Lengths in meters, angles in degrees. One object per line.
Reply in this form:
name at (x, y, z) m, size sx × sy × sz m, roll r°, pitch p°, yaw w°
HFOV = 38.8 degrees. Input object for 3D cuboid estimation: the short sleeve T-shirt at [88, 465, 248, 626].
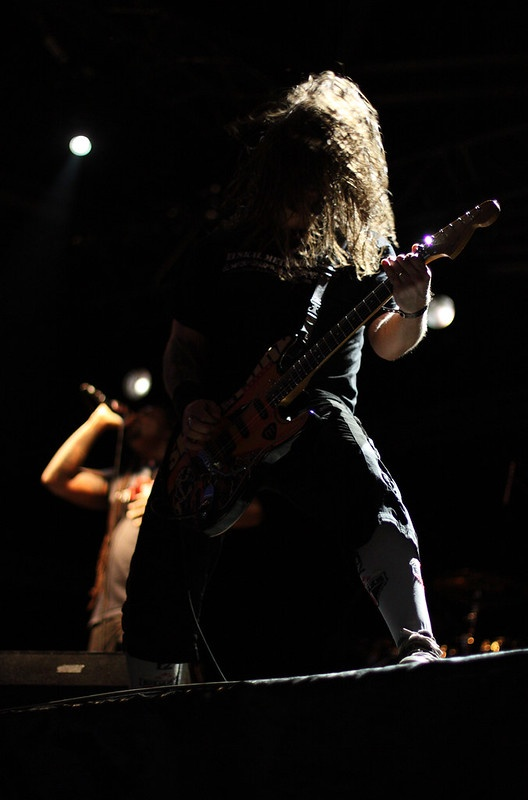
short sleeve T-shirt at (-0.430, 0.512, 2.703) m, size 0.070 × 0.561 × 0.235 m, roll 20°, pitch -15°, yaw -27°

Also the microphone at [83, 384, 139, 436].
microphone at (-0.554, 0.036, 2.760) m, size 0.217 × 0.116 × 0.058 m, roll 39°, pitch -34°, yaw -16°

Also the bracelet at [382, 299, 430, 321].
bracelet at (0.347, -0.221, 1.835) m, size 0.087 × 0.048 × 0.153 m, roll 19°, pitch 13°, yaw 3°
